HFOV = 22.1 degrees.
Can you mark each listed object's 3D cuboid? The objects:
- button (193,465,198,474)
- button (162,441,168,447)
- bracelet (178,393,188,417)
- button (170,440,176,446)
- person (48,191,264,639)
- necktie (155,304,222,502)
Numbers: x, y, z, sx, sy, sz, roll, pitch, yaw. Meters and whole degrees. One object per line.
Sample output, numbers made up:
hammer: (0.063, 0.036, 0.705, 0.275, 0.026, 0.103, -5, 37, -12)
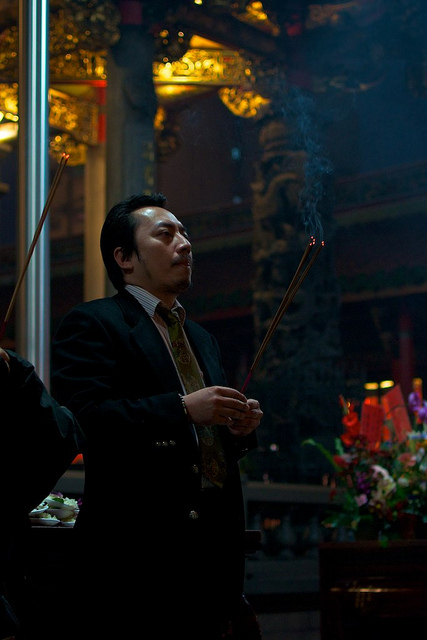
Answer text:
button: (-0.044, 0.355, 2.582, 0.005, 0.016, 0.013, -9, 8, -14)
button: (-0.115, 0.291, 2.556, 0.012, 0.013, 0.002, 0, -8, -6)
bracelet: (-0.074, 0.202, 2.564, 0.011, 0.041, 0.042, -29, 10, 5)
button: (-0.098, 0.288, 2.558, 0.013, 0.009, 0.010, 4, -3, -20)
person: (-0.146, 0.211, 2.716, 0.528, 1.135, 0.398, 1, -8, -14)
necktie: (-0.055, 0.196, 2.698, 0.135, 0.494, 0.262, 1, -8, -17)
